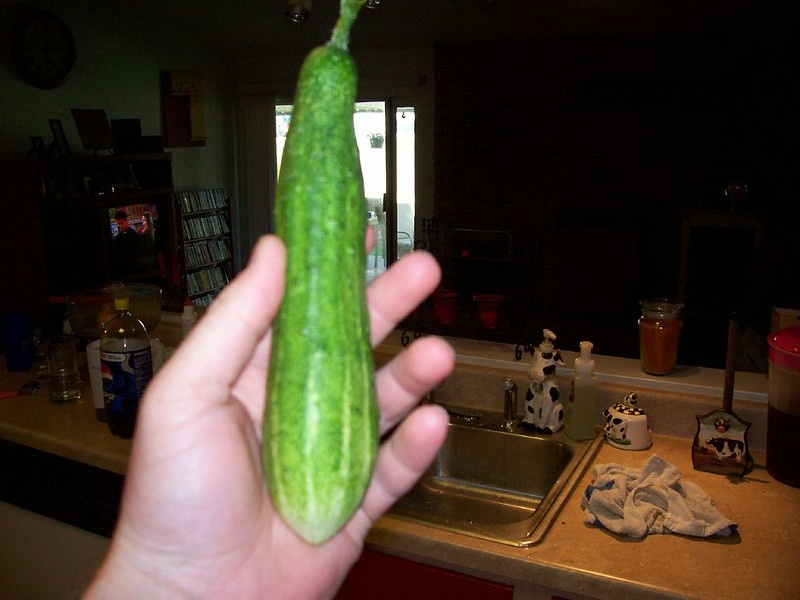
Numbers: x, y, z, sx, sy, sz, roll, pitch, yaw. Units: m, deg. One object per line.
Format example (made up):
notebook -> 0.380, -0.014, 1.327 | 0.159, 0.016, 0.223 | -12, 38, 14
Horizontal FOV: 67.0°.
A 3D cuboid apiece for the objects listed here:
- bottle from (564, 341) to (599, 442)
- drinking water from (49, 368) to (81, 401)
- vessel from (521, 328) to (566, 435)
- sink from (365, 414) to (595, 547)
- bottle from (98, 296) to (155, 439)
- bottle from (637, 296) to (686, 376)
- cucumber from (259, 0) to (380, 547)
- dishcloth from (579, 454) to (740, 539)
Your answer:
bottle -> 0.539, 0.262, 1.763 | 0.094, 0.296, 0.079 | 1, 13, 2
drinking water -> -1.105, 0.276, 1.991 | 0.110, 0.101, 0.093 | -2, 13, -12
vessel -> 0.444, 0.229, 1.841 | 0.118, 0.324, 0.184 | 3, 13, 12
sink -> 0.199, 0.460, 1.650 | 0.412, 0.191, 0.485 | 6, 15, 28
bottle -> -0.784, 0.193, 1.782 | 0.159, 0.396, 0.156 | -1, 6, 0
bottle -> 0.795, 0.121, 1.863 | 0.116, 0.225, 0.060 | 5, 14, 19
cucumber -> -0.113, 0.000, 0.823 | 0.159, 0.675, 0.150 | -3, 13, -13
dishcloth -> 0.599, 0.474, 1.443 | 0.233, 0.063, 0.201 | 0, 12, 7
